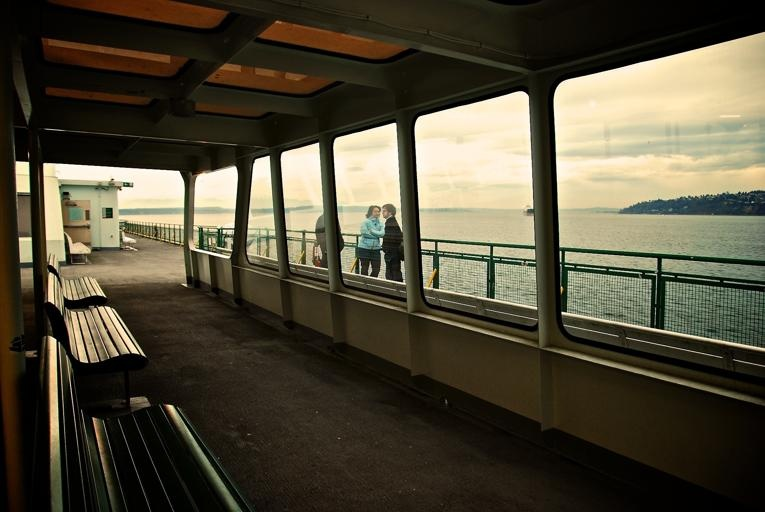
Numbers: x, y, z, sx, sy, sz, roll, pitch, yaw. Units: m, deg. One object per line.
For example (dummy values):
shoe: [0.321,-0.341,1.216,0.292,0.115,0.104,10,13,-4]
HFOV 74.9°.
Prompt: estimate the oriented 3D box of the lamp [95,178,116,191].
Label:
lamp: [-13.109,-3.388,23.788,0.852,0.537,0.559,-8,12,-32]

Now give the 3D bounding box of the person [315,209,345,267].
person: [-0.832,-0.211,7.477,0.210,0.828,0.747,-8,12,-31]
